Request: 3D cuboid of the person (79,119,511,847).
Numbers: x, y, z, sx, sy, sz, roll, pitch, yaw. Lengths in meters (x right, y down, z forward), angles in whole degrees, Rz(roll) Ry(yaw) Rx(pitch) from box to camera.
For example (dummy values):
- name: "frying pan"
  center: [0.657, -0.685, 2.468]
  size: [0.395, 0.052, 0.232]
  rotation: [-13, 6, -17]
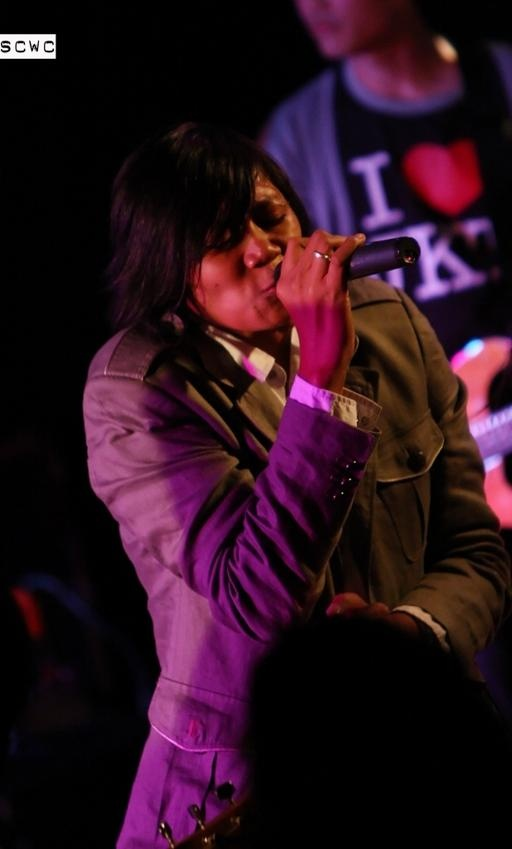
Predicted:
- name: "person"
  center: [0.044, 0.073, 1.259]
  size: [0.714, 0.911, 0.603]
  rotation: [-13, 37, -15]

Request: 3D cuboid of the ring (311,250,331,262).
- name: "ring"
  center: [0.081, -0.204, 1.010]
  size: [0.018, 0.007, 0.014]
  rotation: [31, 37, 12]
